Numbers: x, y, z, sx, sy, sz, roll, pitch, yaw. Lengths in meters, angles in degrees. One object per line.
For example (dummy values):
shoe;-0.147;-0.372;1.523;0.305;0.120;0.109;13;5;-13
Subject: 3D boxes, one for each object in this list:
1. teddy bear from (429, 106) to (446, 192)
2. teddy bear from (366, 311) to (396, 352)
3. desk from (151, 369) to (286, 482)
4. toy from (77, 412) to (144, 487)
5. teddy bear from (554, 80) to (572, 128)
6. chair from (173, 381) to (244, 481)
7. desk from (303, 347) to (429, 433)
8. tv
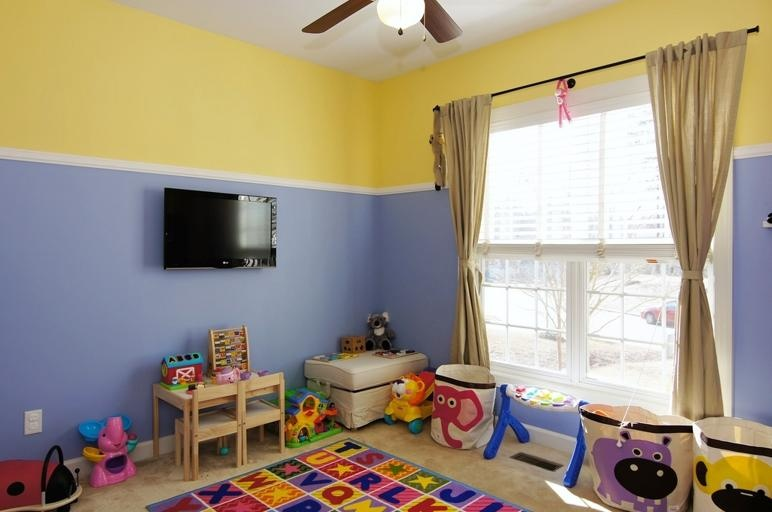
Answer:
teddy bear;0.491;-0.988;4.998;0.169;0.779;0.136;7;16;26
teddy bear;-0.042;0.778;5.465;0.382;0.446;0.188;0;-7;2
desk;-1.359;1.405;4.389;0.593;0.625;0.795;-28;-25;33
toy;-2.119;1.481;4.085;0.466;0.584;0.306;5;-11;-44
teddy bear;1.448;-1.244;4.376;0.140;0.375;0.175;4;15;17
chair;-1.385;1.339;4.233;0.399;0.570;0.424;-8;-18;-20
desk;-0.295;1.098;4.981;0.860;0.420;0.658;-2;1;-44
tv;-1.441;-0.228;4.524;0.736;0.501;0.073;-1;5;-38
